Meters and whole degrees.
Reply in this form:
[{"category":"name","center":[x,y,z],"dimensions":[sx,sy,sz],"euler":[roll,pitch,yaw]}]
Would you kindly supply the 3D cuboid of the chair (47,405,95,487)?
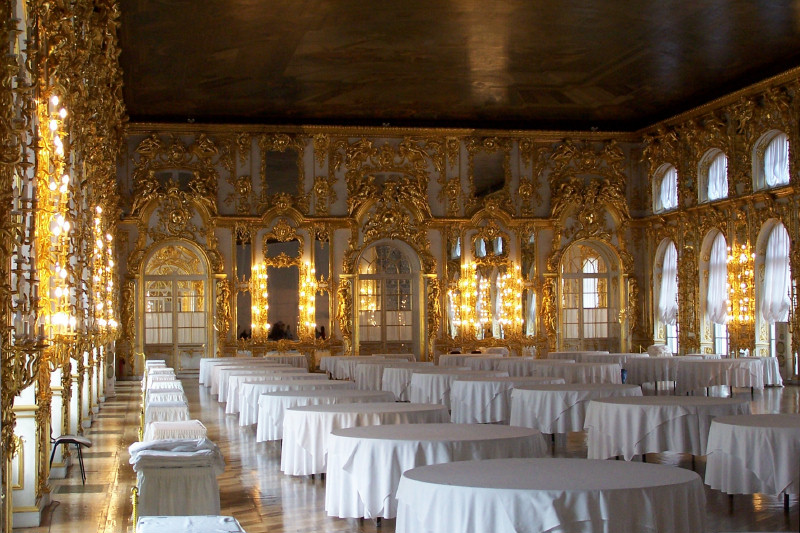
[{"category":"chair","center":[-3.813,2.044,10.832],"dimensions":[0.478,0.665,0.419],"euler":[3,2,-29]}]
